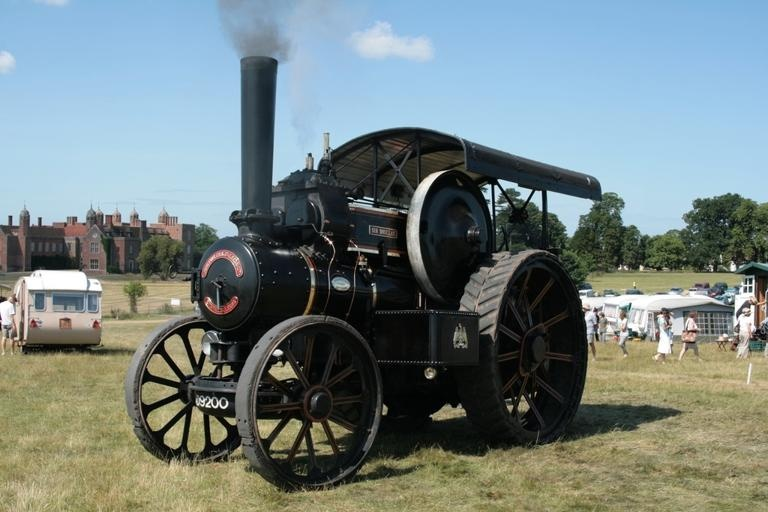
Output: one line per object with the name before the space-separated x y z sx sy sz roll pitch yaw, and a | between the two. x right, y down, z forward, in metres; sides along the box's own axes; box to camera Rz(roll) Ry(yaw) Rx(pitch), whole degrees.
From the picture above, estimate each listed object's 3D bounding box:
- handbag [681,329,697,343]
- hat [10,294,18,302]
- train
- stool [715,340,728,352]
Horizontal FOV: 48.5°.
handbag | 9.949 2.642 27.737 0.350 0.292 0.694 0 0 13
hat | -12.087 1.424 27.833 0.200 0.089 0.281 8 40 -27
train | -0.078 0.662 15.786 3.798 5.900 8.707 -3 -4 44
stool | 13.710 3.709 34.624 0.338 0.317 0.634 -1 -1 4
